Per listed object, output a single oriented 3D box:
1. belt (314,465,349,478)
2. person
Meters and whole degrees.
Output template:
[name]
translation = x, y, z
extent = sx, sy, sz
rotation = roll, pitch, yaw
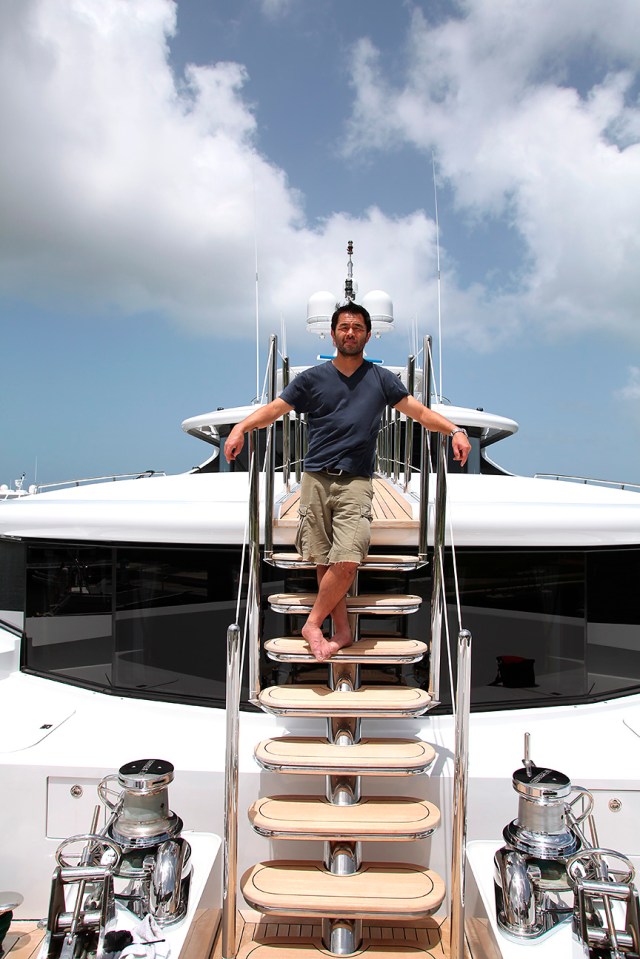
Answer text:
[belt]
translation = 0.049, -0.037, 3.750
extent = 0.150, 0.047, 0.026
rotation = 0, -2, 14
[person]
translation = 0.075, 0.011, 3.778
extent = 0.924, 1.572, 0.302
rotation = 1, -2, -8
